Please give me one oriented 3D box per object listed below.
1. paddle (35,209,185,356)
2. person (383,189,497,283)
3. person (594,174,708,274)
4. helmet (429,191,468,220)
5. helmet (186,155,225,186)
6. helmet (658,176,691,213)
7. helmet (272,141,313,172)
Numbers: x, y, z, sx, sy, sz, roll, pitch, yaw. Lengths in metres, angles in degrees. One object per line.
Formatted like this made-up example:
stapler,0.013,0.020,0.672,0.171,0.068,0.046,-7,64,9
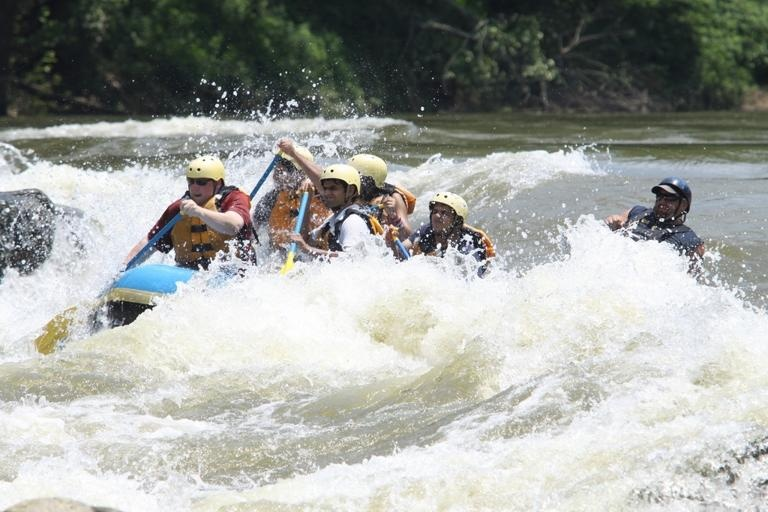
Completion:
paddle,-4.503,0.501,18.643,3.396,0.166,0.553,-39,56,-17
person,1.064,-0.292,18.934,1.151,1.474,1.659,-6,15,-44
person,4.663,-0.554,19.083,1.341,1.399,0.768,4,14,25
helmet,1.130,-0.868,18.799,0.596,0.427,0.449,21,9,-20
helmet,-2.849,-1.365,18.409,0.430,0.382,0.499,0,-13,17
helmet,4.989,-1.050,19.227,0.672,0.333,0.485,31,0,-16
helmet,-1.549,-1.734,19.746,0.585,0.417,0.402,18,26,-12
